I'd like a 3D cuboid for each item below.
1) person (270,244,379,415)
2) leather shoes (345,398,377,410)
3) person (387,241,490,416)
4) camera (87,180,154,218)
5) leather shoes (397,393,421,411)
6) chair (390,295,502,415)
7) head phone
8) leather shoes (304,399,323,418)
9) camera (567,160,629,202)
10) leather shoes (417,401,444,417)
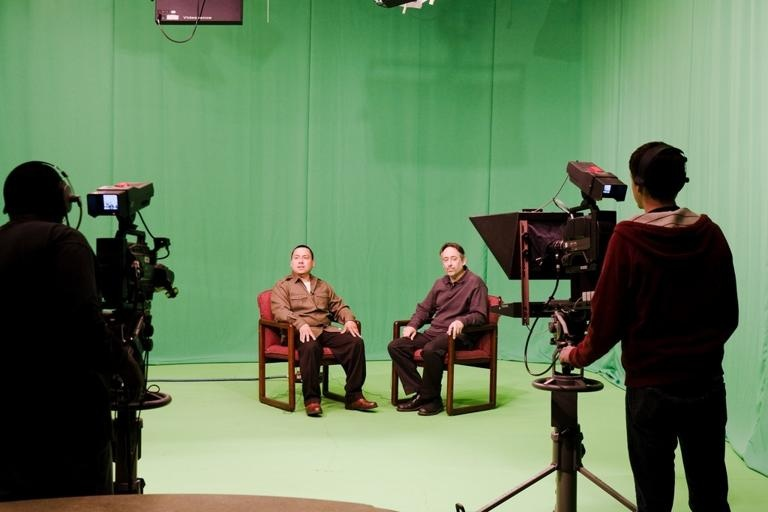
[{"bbox_3d":[-0.495,0.565,5.782,0.713,1.217,0.933,-2,7,-24],"label":"person"},{"bbox_3d":[-0.180,1.147,5.576,0.241,0.104,0.090,-4,-4,27],"label":"leather shoes"},{"bbox_3d":[0.488,0.753,5.733,0.906,0.886,0.931,5,-2,-23],"label":"person"},{"bbox_3d":[-1.391,-0.301,3.791,0.182,0.173,0.306,2,7,20],"label":"camera"},{"bbox_3d":[0.212,1.150,5.617,0.227,0.099,0.085,2,-4,-15],"label":"leather shoes"},{"bbox_3d":[0.618,0.776,5.955,0.927,1.090,0.833,3,-4,-43],"label":"chair"},{"bbox_3d":[-1.587,-0.277,3.399,0.226,0.268,0.305,-4,-10,9],"label":"head phone"},{"bbox_3d":[-0.543,1.154,5.435,0.086,0.106,0.243,1,-11,-14],"label":"leather shoes"},{"bbox_3d":[1.065,-0.367,3.677,0.184,0.137,0.288,-8,32,-34],"label":"camera"},{"bbox_3d":[0.351,1.171,5.499,0.078,0.092,0.219,-6,-10,42],"label":"leather shoes"}]
